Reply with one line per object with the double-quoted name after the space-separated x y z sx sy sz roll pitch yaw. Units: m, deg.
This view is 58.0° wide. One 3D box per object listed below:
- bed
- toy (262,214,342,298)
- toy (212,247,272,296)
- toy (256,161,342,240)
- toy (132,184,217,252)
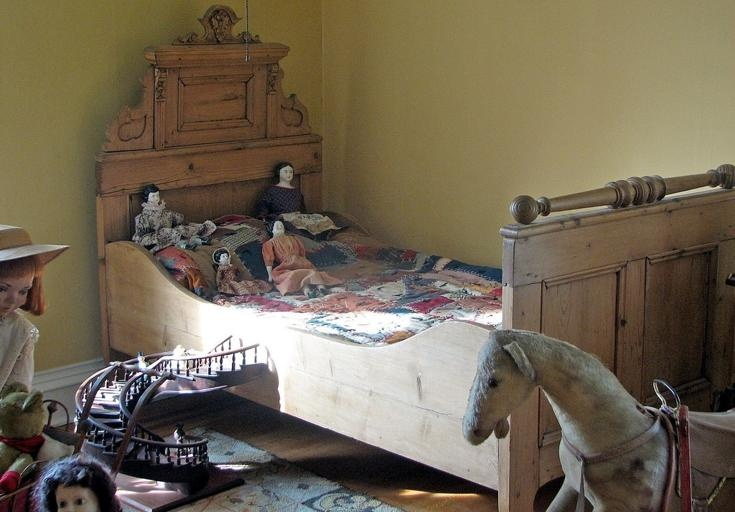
0.116 -0.314 4.435 4.061 2.617 2.211 9 14 44 "bed"
-0.447 0.040 4.149 0.386 0.236 0.566 -16 39 -21 "toy"
-0.839 0.092 4.142 0.418 0.264 0.225 6 21 36 "toy"
-0.612 -0.422 4.883 0.654 0.459 0.506 19 21 41 "toy"
-1.274 -0.237 4.284 0.259 0.295 0.435 -5 14 45 "toy"
